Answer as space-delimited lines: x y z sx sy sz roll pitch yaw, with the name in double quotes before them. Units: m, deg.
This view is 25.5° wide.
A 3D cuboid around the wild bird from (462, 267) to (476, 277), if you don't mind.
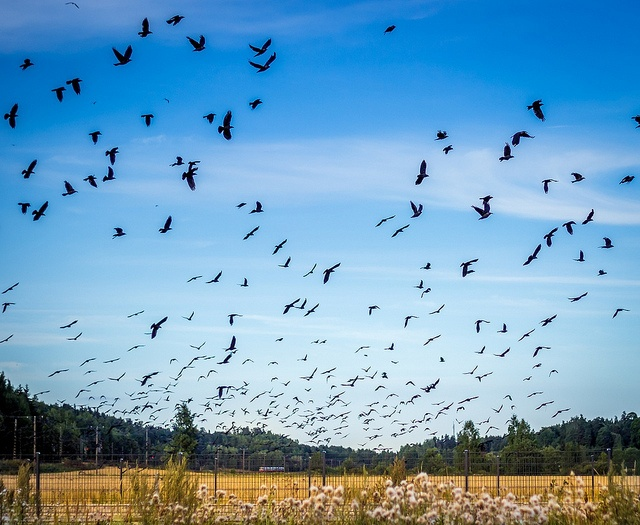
"wild bird" 4.160 0.259 40.506 0.276 0.270 0.753 -15 -3 -4
